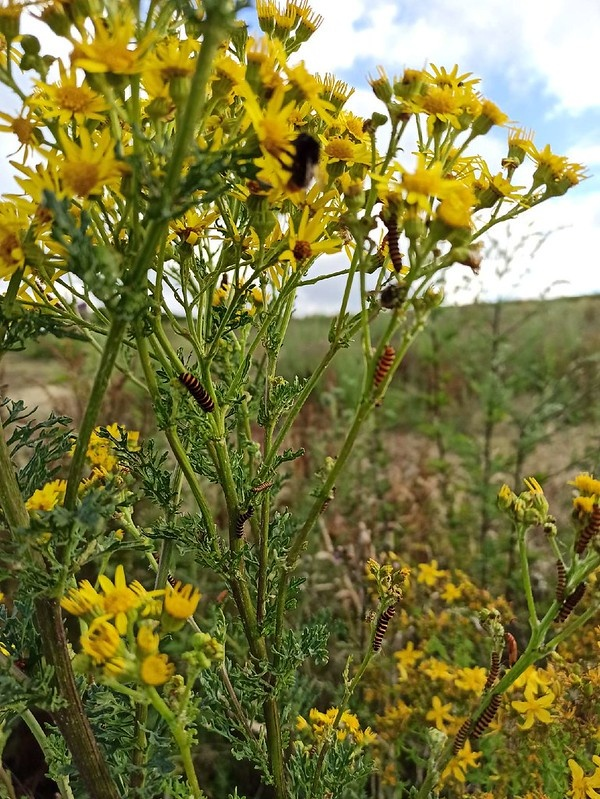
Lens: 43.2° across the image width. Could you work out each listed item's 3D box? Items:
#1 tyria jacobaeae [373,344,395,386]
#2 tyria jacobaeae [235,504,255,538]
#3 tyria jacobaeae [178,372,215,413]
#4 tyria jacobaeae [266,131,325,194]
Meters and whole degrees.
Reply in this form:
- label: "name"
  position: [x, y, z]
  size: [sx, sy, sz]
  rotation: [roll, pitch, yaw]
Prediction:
- label: "tyria jacobaeae"
  position: [0.132, -0.053, 1.229]
  size: [0.023, 0.082, 0.023]
  rotation: [22, 12, 8]
- label: "tyria jacobaeae"
  position: [-0.108, 0.224, 1.409]
  size: [0.023, 0.084, 0.022]
  rotation: [-1, 41, -31]
- label: "tyria jacobaeae"
  position: [-0.181, -0.012, 1.317]
  size: [0.041, 0.066, 0.099]
  rotation: [0, -1, 20]
- label: "tyria jacobaeae"
  position: [0.003, -0.343, 1.093]
  size: [0.030, 0.065, 0.086]
  rotation: [28, -14, 36]
